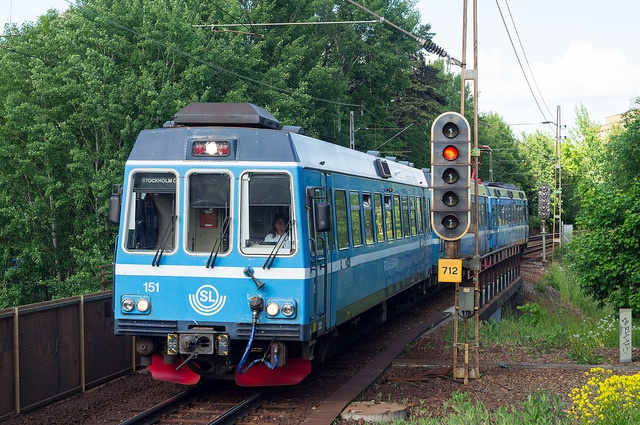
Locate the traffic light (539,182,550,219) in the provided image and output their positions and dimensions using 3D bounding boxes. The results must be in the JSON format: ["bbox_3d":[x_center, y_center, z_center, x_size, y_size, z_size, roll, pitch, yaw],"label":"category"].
[{"bbox_3d":[15.212,-0.756,38.135,0.706,2.428,1.045,-4,-3,30],"label":"traffic light"}]
